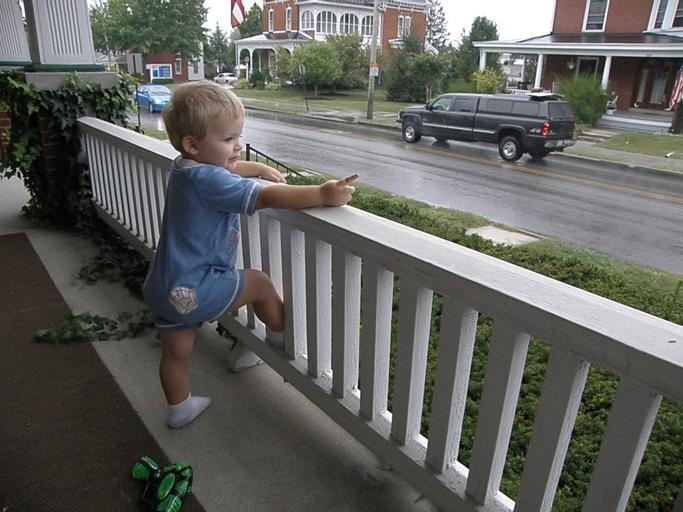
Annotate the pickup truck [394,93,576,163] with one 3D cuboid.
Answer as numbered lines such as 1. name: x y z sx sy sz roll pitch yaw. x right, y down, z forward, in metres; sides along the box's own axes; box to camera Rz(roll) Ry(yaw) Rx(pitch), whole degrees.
1. pickup truck: 5.048 -4.754 16.779 5.401 2.183 1.420 17 25 30

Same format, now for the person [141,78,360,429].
1. person: -0.469 0.028 2.379 0.972 1.601 0.843 1 16 -6
